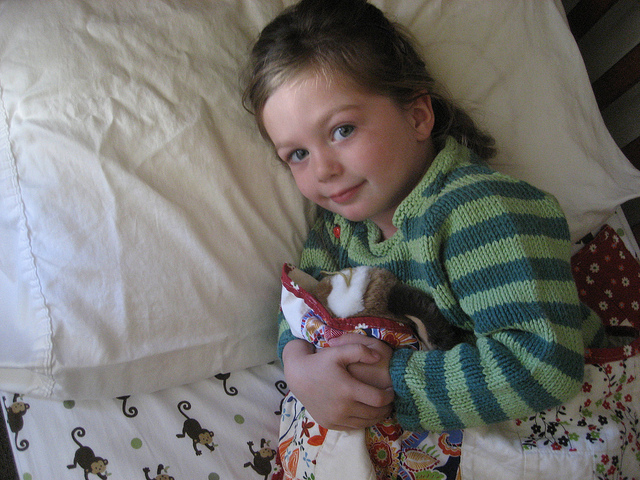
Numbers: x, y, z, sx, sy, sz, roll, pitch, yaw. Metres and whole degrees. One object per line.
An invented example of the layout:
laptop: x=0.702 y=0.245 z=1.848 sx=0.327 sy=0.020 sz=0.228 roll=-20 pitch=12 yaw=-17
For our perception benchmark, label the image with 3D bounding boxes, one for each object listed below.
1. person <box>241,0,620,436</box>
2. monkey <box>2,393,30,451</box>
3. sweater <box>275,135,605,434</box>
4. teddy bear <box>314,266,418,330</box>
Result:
person: x=0.181 y=-0.072 z=1.577 sx=0.826 sy=0.916 sz=0.768 roll=-20 pitch=0 yaw=-33
monkey: x=-0.601 y=0.366 z=1.285 sx=0.044 sy=0.087 sz=0.075 roll=-13 pitch=22 yaw=-29
sweater: x=0.239 y=0.082 z=1.288 sx=0.517 sy=0.516 sz=0.391 roll=-2 pitch=19 yaw=2
teddy bear: x=0.092 y=0.106 z=1.300 sx=0.169 sy=0.094 sz=0.117 roll=25 pitch=-3 yaw=-6
